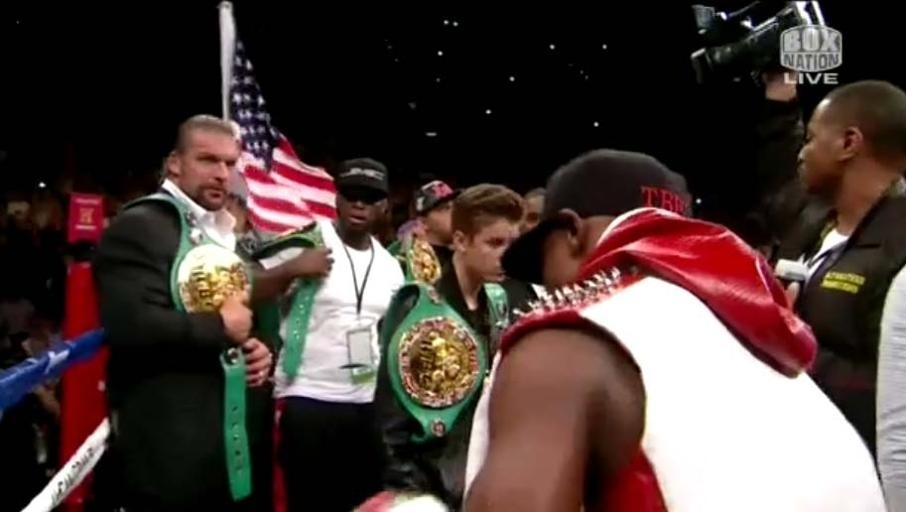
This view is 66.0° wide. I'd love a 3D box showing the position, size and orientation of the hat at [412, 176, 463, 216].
[{"bbox_3d":[-0.109,-0.604,6.513,0.514,0.217,0.360,-18,3,17],"label":"hat"}]
